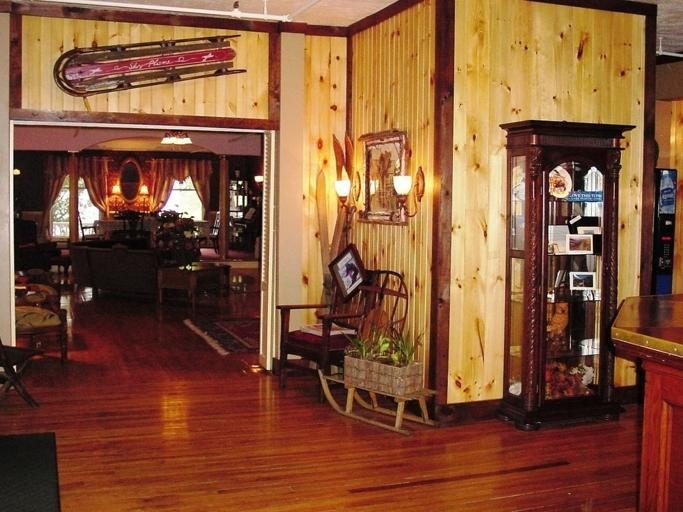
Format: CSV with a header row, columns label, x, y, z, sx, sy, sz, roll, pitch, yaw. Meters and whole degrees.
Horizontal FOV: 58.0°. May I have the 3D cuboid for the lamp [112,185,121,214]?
label,x,y,z,sx,sy,sz,roll,pitch,yaw
lamp,-7.135,-1.855,19.573,0.453,0.951,0.221,-3,6,-34

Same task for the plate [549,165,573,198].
label,x,y,z,sx,sy,sz,roll,pitch,yaw
plate,1.902,-0.642,5.323,0.243,0.281,0.049,-2,6,-31

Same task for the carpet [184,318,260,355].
label,x,y,z,sx,sy,sz,roll,pitch,yaw
carpet,-1.529,1.092,8.772,1.025,0.028,2.187,-2,6,-26

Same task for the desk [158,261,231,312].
label,x,y,z,sx,sy,sz,roll,pitch,yaw
desk,-2.656,0.529,10.947,0.739,0.601,1.234,-1,-4,9

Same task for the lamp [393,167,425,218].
label,x,y,z,sx,sy,sz,roll,pitch,yaw
lamp,0.615,-0.605,5.720,0.250,0.471,0.203,-2,7,-5

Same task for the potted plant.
label,x,y,z,sx,sy,sz,roll,pitch,yaw
potted plant,0.363,0.929,5.477,0.373,0.485,0.677,1,2,-45

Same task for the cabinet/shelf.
label,x,y,z,sx,sy,sz,roll,pitch,yaw
cabinet/shelf,1.937,0.158,5.394,1.072,2.605,0.421,0,5,-11

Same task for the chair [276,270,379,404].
label,x,y,z,sx,sy,sz,roll,pitch,yaw
chair,-0.162,0.745,6.191,0.888,1.138,0.944,2,2,-13

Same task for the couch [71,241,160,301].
label,x,y,z,sx,sy,sz,roll,pitch,yaw
couch,-4.137,0.193,11.517,2.000,0.872,0.689,2,8,11

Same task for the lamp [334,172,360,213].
label,x,y,z,sx,sy,sz,roll,pitch,yaw
lamp,0.070,-0.685,6.687,0.296,0.457,0.261,-4,-8,19

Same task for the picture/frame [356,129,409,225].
label,x,y,z,sx,sy,sz,roll,pitch,yaw
picture/frame,0.404,-0.761,6.199,0.116,0.968,0.968,-2,8,-26

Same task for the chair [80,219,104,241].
label,x,y,z,sx,sy,sz,roll,pitch,yaw
chair,-7.380,-0.769,18.237,0.691,0.937,0.673,-3,3,-33

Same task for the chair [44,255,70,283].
label,x,y,z,sx,sy,sz,roll,pitch,yaw
chair,-6.363,0.265,13.777,0.355,0.279,0.560,-2,8,-11

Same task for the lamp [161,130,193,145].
label,x,y,z,sx,sy,sz,roll,pitch,yaw
lamp,-3.333,-2.423,12.478,0.512,0.198,1.024,-1,6,-17
